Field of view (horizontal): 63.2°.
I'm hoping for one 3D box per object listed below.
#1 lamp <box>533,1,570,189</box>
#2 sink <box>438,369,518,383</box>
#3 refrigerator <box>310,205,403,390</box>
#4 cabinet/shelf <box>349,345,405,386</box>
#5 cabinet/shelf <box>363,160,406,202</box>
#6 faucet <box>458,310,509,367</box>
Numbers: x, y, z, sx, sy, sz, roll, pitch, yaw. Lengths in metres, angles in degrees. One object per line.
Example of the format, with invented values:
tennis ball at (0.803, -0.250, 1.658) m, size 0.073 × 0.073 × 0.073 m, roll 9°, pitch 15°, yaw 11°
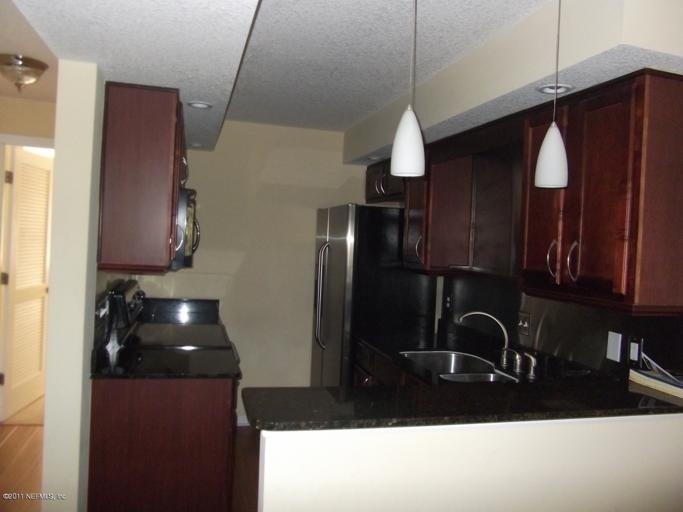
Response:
lamp at (0.951, -0.724, 2.496) m, size 0.124 × 0.823 × 0.422 m, roll 1°, pitch 1°, yaw 22°
sink at (0.761, 0.699, 3.221) m, size 0.363 × 0.085 × 0.188 m, roll 0°, pitch -2°, yaw 1°
refrigerator at (0.043, 0.356, 4.395) m, size 0.398 × 1.227 × 0.866 m, roll 1°, pitch 1°, yaw -39°
cabinet/shelf at (0.233, 0.727, 3.700) m, size 0.269 × 0.298 × 0.427 m, roll -1°, pitch 0°, yaw -17°
cabinet/shelf at (0.392, -0.609, 4.680) m, size 0.176 × 0.302 × 0.528 m, roll -6°, pitch 6°, yaw -29°
faucet at (0.887, 0.473, 3.443) m, size 0.282 × 0.335 × 0.915 m, roll 1°, pitch 1°, yaw 14°
